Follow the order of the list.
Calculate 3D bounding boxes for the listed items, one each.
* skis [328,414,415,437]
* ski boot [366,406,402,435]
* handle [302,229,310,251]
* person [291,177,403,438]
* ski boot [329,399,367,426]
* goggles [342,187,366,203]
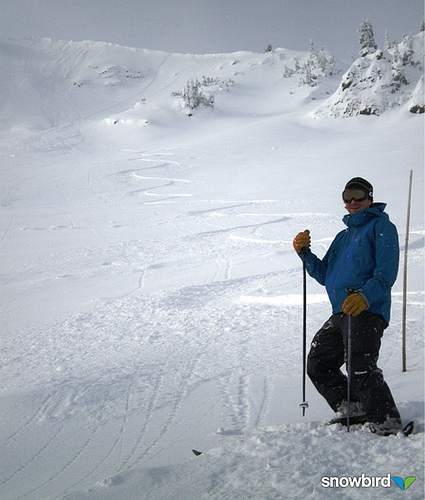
[{"bbox_3d":[1.154,1.262,4.172,0.507,0.172,0.162,-12,-11,40],"label":"skis"},{"bbox_3d":[1.224,1.213,4.044,0.207,0.197,0.071,-6,12,9],"label":"ski boot"},{"bbox_3d":[0.761,-0.085,4.655,0.052,0.158,0.178,-5,10,18],"label":"handle"},{"bbox_3d":[1.035,0.442,4.290,0.772,1.936,0.902,-8,12,6],"label":"person"},{"bbox_3d":[1.016,1.233,4.291,0.277,0.084,0.180,2,-9,-6],"label":"ski boot"},{"bbox_3d":[1.061,-0.425,4.288,0.116,0.060,0.160,-1,1,42],"label":"goggles"}]
